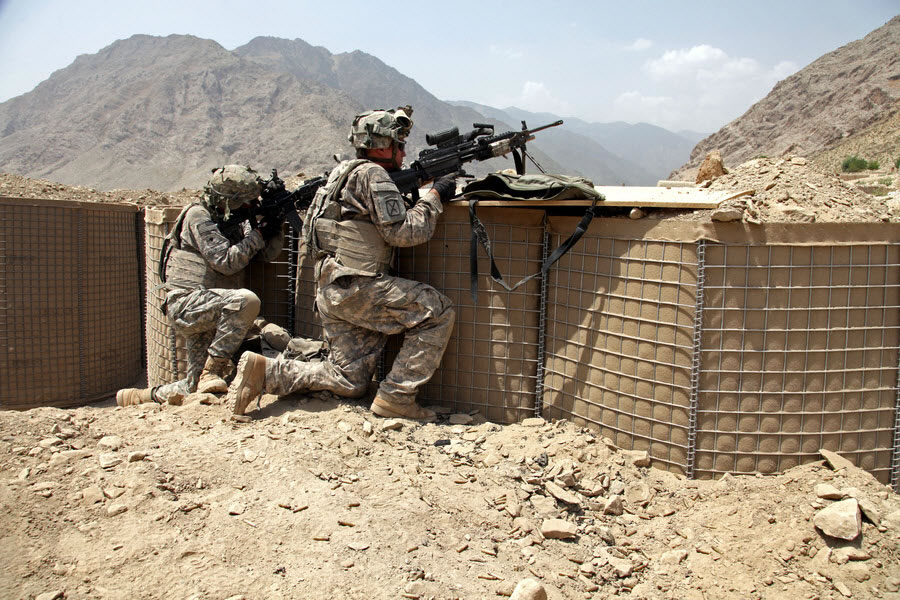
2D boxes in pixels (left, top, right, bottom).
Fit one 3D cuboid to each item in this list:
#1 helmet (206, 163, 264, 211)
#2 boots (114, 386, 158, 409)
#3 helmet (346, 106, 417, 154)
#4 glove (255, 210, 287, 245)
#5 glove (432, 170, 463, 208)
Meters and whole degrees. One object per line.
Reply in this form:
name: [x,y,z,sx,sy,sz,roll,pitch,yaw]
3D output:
helmet: [-2.427,-1.254,9.119,0.581,0.442,0.516,-16,-25,-11]
boots: [-3.655,1.129,9.399,0.476,0.193,0.290,-4,-7,14]
helmet: [-0.771,-1.808,8.744,0.615,0.433,0.532,0,8,-42]
glove: [-2.015,-0.798,9.238,0.309,0.303,0.088,25,13,-34]
glove: [-0.066,-1.115,8.392,0.250,0.334,0.122,-13,20,-36]
